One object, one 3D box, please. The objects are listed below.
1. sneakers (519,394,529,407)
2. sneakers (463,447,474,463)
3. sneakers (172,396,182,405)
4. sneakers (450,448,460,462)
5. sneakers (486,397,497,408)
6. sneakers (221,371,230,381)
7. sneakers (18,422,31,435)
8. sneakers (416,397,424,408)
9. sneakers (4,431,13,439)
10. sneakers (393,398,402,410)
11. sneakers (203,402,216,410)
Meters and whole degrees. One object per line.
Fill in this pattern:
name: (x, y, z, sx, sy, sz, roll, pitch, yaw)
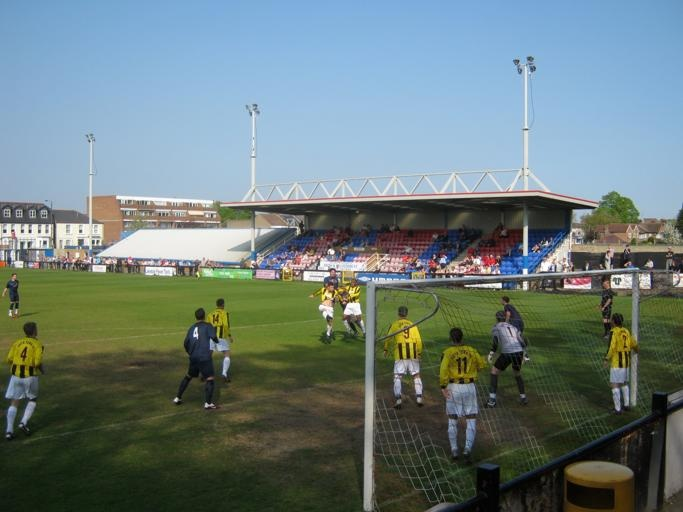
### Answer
sneakers: (3.338, 2.591, 14.777, 0.102, 0.183, 0.280, 0, 5, 7)
sneakers: (1.992, 3.137, 12.800, 0.147, 0.223, 0.217, 0, 10, 8)
sneakers: (-3.116, 2.708, 15.220, 0.092, 0.087, 0.209, 4, 4, -5)
sneakers: (1.807, 3.129, 12.928, 0.132, 0.169, 0.278, 0, 10, 5)
sneakers: (2.674, 2.620, 14.529, 0.101, 0.186, 0.273, 3, 2, 8)
sneakers: (-2.449, 2.500, 16.711, 0.248, 0.132, 0.097, 23, -19, -19)
sneakers: (-5.385, 2.919, 13.717, 0.126, 0.148, 0.331, 0, -5, -4)
sneakers: (1.414, 2.681, 14.855, 0.184, 0.221, 0.538, -1, -5, 8)
sneakers: (-5.586, 2.991, 13.543, 0.126, 0.125, 0.179, -5, 11, -22)
sneakers: (1.039, 2.683, 14.772, 0.202, 0.214, 0.166, 6, -9, -29)
sneakers: (-2.455, 2.773, 14.963, 0.293, 0.115, 0.094, 0, 4, -7)
